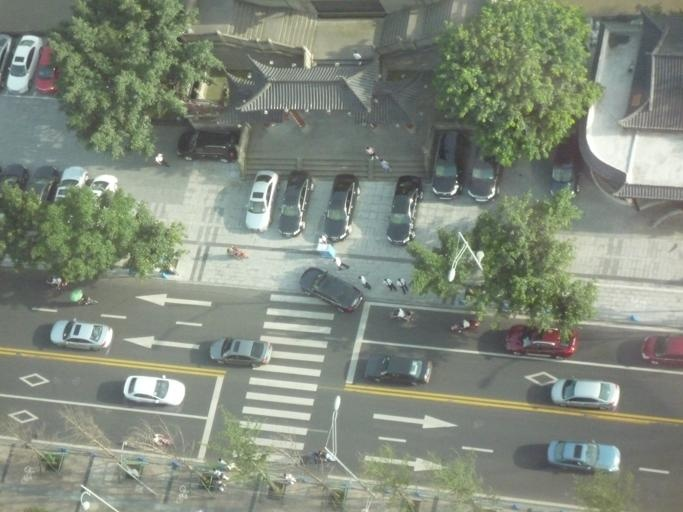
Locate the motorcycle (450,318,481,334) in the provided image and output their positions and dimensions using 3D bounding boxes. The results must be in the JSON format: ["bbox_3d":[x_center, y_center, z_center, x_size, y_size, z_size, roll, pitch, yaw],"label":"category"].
[{"bbox_3d":[10.255,5.592,82.866,2.052,0.753,1.140,-11,57,-2],"label":"motorcycle"}]

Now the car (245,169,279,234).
[{"bbox_3d":[-6.789,-5.055,88.653,2.119,1.766,5.722,5,79,15],"label":"car"}]

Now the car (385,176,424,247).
[{"bbox_3d":[5.653,-3.799,86.637,2.307,1.821,6.416,6,79,19],"label":"car"}]

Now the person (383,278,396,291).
[{"bbox_3d":[4.163,2.361,84.711,0.511,1.547,0.535,7,71,30],"label":"person"}]

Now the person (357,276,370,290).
[{"bbox_3d":[2.041,2.247,84.869,1.001,0.390,1.038,3,95,32],"label":"person"}]

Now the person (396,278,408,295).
[{"bbox_3d":[5.202,2.507,84.295,0.771,0.444,1.355,2,97,46],"label":"person"}]

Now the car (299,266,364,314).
[{"bbox_3d":[-0.905,2.745,84.998,5.566,1.890,2.843,28,90,3],"label":"car"}]

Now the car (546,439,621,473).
[{"bbox_3d":[19.183,15.745,79.066,5.204,1.894,2.615,2,84,14],"label":"car"}]

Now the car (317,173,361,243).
[{"bbox_3d":[0.162,-4.019,87.604,2.309,1.791,6.426,8,76,16],"label":"car"}]

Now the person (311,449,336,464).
[{"bbox_3d":[-1.530,16.028,80.499,1.452,0.618,1.189,-3,65,1],"label":"person"}]

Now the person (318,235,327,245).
[{"bbox_3d":[-1.478,-1.416,85.883,0.670,0.172,0.737,1,89,16],"label":"person"}]

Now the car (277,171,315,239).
[{"bbox_3d":[-3.810,-4.719,88.226,2.175,1.818,6.025,6,79,14],"label":"car"}]

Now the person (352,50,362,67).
[{"bbox_3d":[1.498,-17.833,89.898,1.042,0.298,1.211,11,102,28],"label":"person"}]

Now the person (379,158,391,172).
[{"bbox_3d":[3.849,-7.929,88.065,0.492,0.727,1.725,-31,63,23],"label":"person"}]

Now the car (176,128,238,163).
[{"bbox_3d":[-12.043,-10.078,91.440,5.233,2.057,2.857,3,82,3],"label":"car"}]

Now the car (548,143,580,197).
[{"bbox_3d":[19.050,-7.232,85.343,1.980,2.124,4.765,1,89,25],"label":"car"}]
